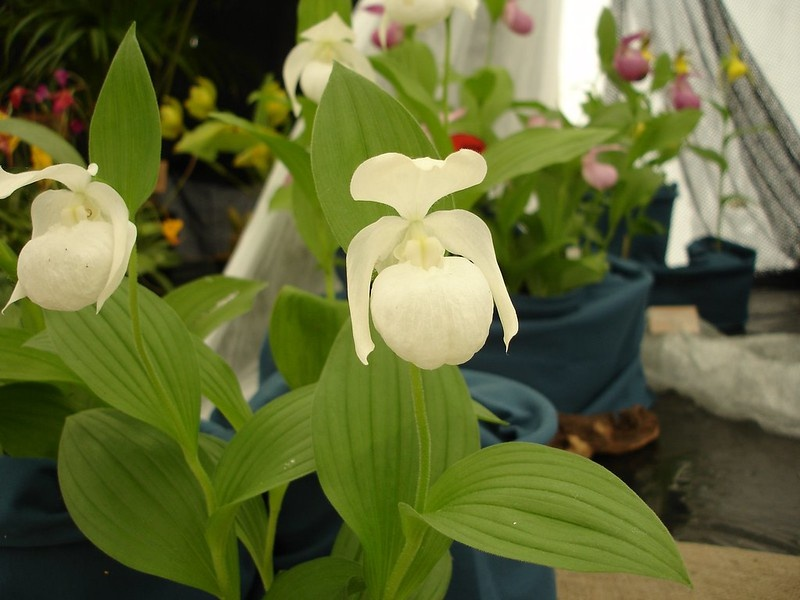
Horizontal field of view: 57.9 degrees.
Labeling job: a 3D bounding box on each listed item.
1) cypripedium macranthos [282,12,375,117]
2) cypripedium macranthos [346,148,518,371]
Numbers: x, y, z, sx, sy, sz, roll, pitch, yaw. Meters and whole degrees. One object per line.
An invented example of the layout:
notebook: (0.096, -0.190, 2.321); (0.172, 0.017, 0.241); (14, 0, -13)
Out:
cypripedium macranthos: (-0.128, -0.441, 1.351); (0.145, 0.129, 0.197); (-13, 66, 16)
cypripedium macranthos: (0.019, -0.046, 1.010); (0.232, 0.313, 0.138); (-16, 38, 5)
